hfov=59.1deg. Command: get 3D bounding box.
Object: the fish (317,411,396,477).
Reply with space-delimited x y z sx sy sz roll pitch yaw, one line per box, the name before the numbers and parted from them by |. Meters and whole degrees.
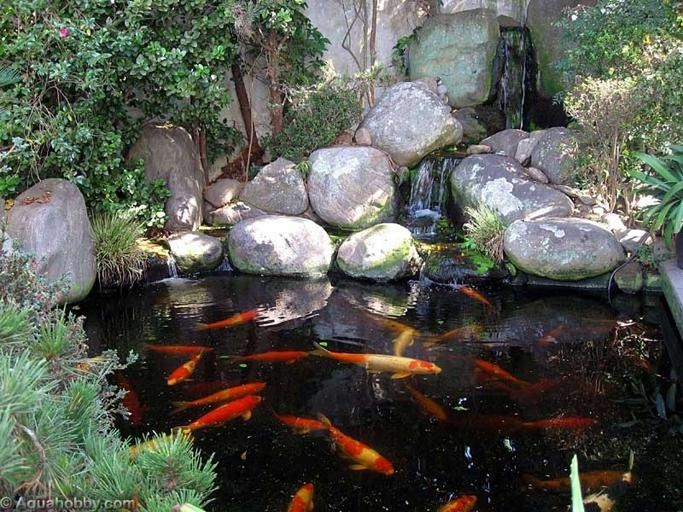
fish | 0.140 1.582 4.993 0.764 0.275 0.216 32 -2 36
